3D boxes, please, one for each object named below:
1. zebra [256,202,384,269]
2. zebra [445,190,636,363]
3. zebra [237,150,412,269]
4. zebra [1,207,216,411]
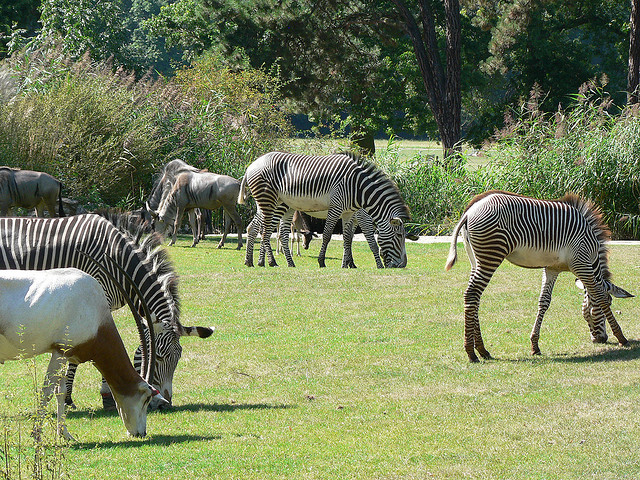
[{"bbox_3d":[-0.048,-0.170,23.316,3.088,1.855,0.729,4,-1,35],"label":"zebra"},{"bbox_3d":[3.461,0.607,17.543,2.589,2.679,0.792,2,2,-11],"label":"zebra"},{"bbox_3d":[0.224,-0.544,22.622,3.237,2.330,0.881,2,2,4],"label":"zebra"},{"bbox_3d":[-3.053,0.980,15.830,2.616,2.592,1.068,2,2,-8],"label":"zebra"}]
